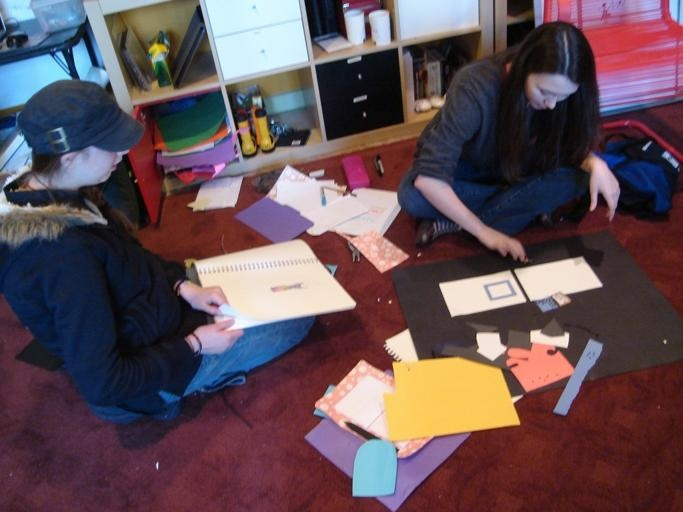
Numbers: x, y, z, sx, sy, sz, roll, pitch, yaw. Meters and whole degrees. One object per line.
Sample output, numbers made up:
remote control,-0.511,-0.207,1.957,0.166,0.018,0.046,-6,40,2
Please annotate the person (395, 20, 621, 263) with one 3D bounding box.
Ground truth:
person,0.652,-0.436,2.225,0.848,0.904,0.527,-13,38,2

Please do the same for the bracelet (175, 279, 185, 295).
bracelet,-0.583,0.113,1.999,0.033,0.019,0.048,-7,58,47

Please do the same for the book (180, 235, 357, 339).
book,-0.261,0.105,2.024,0.578,0.057,0.533,-14,33,-40

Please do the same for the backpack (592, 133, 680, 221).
backpack,1.300,-0.382,2.462,0.363,0.134,0.388,-12,68,-17

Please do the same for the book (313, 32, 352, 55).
book,-0.050,-1.139,2.945,0.157,0.039,0.163,-22,44,-19

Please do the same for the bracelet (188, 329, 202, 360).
bracelet,-0.479,0.300,1.840,0.024,0.069,0.055,-15,13,-20

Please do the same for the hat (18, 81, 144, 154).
hat,-0.789,-0.453,1.737,0.381,0.195,0.300,-10,27,-13

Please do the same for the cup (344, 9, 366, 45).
cup,0.067,-1.198,2.881,0.114,0.138,0.120,-3,40,2
